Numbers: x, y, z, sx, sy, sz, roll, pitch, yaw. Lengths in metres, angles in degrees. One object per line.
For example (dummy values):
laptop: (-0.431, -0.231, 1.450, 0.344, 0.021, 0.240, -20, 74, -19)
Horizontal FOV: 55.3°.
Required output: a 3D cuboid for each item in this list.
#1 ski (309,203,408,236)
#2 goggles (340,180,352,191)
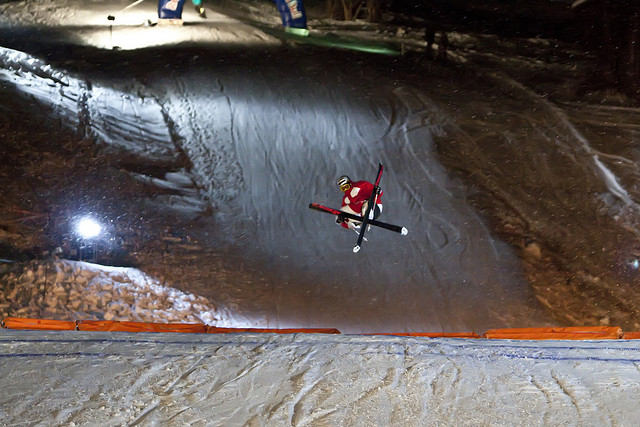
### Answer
ski: (0.494, 0.088, 7.505, 1.345, 0.140, 0.168, 11, 10, 9)
goggles: (0.312, -0.308, 7.240, 0.141, 0.059, 0.096, -5, 7, 7)
